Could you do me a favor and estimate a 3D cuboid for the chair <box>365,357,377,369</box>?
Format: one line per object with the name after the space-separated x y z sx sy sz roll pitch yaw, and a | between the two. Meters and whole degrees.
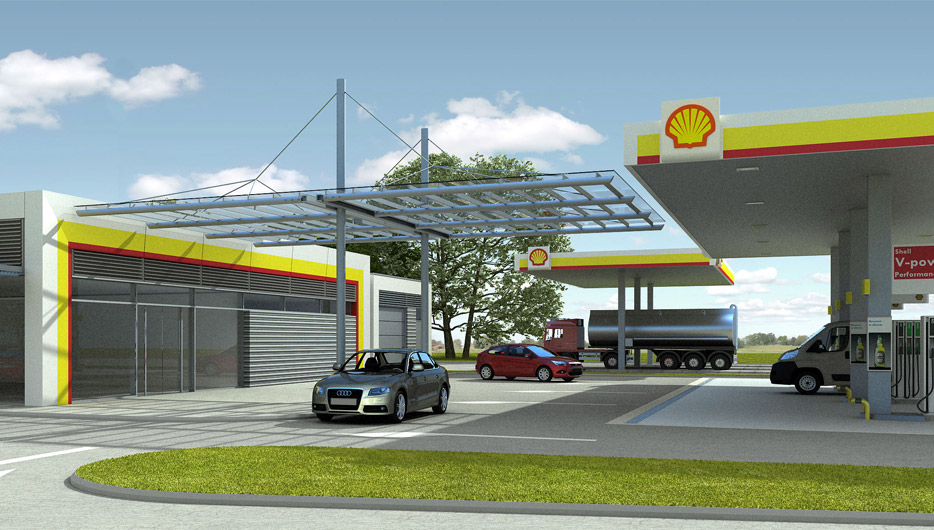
-2.686 2.758 22.479 0.333 0.269 0.282 1 -11 2 | chair
